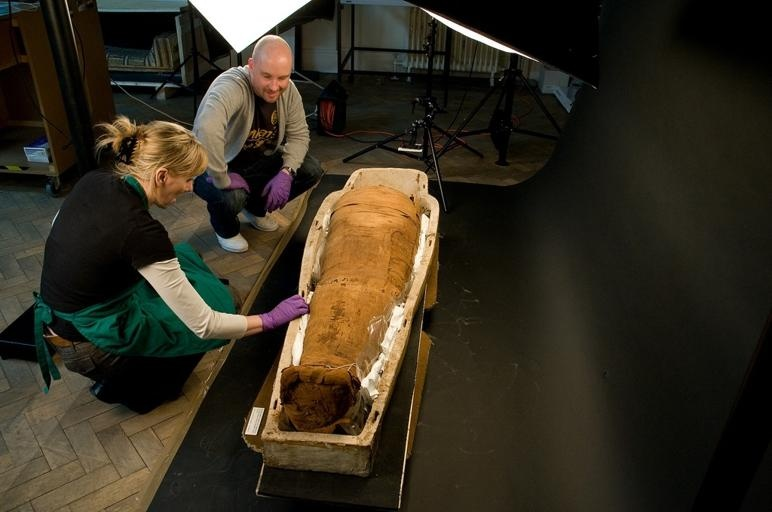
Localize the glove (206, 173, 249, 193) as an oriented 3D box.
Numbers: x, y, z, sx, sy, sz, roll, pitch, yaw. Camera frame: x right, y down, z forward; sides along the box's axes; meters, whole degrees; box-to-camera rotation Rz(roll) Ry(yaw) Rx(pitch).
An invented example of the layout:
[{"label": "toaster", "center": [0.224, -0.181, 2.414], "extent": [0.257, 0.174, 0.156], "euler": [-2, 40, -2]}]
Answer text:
[{"label": "glove", "center": [-0.999, -0.471, 3.572], "extent": [0.175, 0.153, 0.052], "euler": [-16, -6, -43]}]

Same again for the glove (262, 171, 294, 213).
[{"label": "glove", "center": [-0.701, -0.448, 3.750], "extent": [0.174, 0.076, 0.285], "euler": [5, 64, 42]}]

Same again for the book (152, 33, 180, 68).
[{"label": "book", "center": [-2.434, -2.259, 6.099], "extent": [0.292, 0.147, 0.401], "euler": [-6, 39, -6]}]

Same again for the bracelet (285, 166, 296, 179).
[{"label": "bracelet", "center": [-0.657, -0.578, 3.813], "extent": [0.043, 0.070, 0.052], "euler": [-26, -4, 11]}]

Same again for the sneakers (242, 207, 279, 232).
[{"label": "sneakers", "center": [-0.913, -0.276, 4.078], "extent": [0.317, 0.146, 0.133], "euler": [12, 63, -5]}]

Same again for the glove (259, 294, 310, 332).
[{"label": "glove", "center": [-0.473, 0.308, 2.609], "extent": [0.232, 0.066, 0.135], "euler": [-34, 53, -24]}]

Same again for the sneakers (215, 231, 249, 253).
[{"label": "sneakers", "center": [-1.061, -0.114, 3.772], "extent": [0.201, 0.077, 0.109], "euler": [26, 51, 24]}]

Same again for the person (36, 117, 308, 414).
[{"label": "person", "center": [-1.145, 0.105, 2.568], "extent": [1.154, 1.440, 0.393], "euler": [3, 26, 1]}]

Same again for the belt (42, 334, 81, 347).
[{"label": "belt", "center": [-1.509, 0.382, 2.564], "extent": [0.084, 0.035, 0.094], "euler": [18, 7, -15]}]
